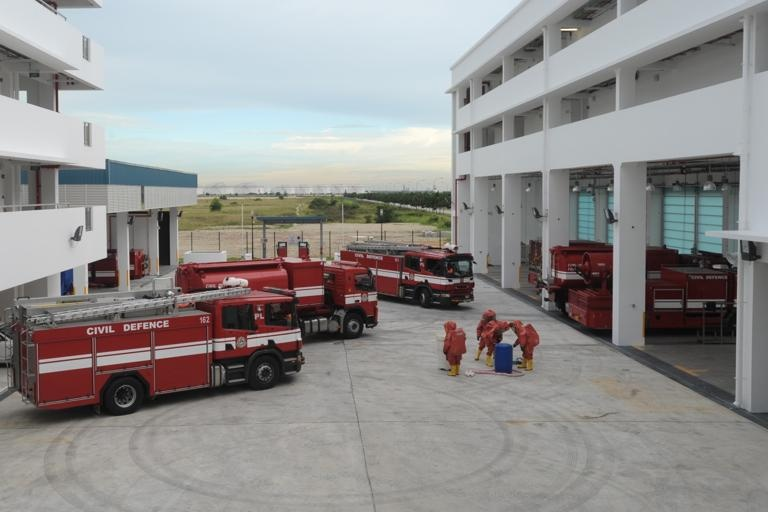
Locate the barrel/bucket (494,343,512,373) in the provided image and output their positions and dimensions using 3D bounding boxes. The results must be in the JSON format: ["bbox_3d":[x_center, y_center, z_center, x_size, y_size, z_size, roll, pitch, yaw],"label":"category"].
[{"bbox_3d":[4.249,3.649,22.343,0.583,1.002,0.402,1,10,3],"label":"barrel/bucket"}]

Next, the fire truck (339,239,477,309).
[{"bbox_3d":[1.376,0.928,36.040,8.578,3.310,3.305,4,5,44],"label":"fire truck"}]

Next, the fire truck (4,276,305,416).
[{"bbox_3d":[-7.144,2.920,20.480,9.247,3.425,3.322,-3,2,-42],"label":"fire truck"}]

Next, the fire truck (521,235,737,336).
[{"bbox_3d":[11.870,1.519,29.475,8.050,3.674,6.941,2,10,12],"label":"fire truck"}]

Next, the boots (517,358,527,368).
[{"bbox_3d":[5.053,3.979,23.130,0.389,0.356,0.229,3,-3,-15],"label":"boots"}]

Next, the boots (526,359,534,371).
[{"bbox_3d":[5.296,3.929,22.816,0.220,0.401,0.376,3,10,14],"label":"boots"}]

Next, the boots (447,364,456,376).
[{"bbox_3d":[2.393,4.040,22.267,0.225,0.382,0.402,-1,11,-10],"label":"boots"}]

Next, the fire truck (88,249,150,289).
[{"bbox_3d":[-17.576,0.756,41.273,3.812,2.329,1.475,-4,13,-23],"label":"fire truck"}]
